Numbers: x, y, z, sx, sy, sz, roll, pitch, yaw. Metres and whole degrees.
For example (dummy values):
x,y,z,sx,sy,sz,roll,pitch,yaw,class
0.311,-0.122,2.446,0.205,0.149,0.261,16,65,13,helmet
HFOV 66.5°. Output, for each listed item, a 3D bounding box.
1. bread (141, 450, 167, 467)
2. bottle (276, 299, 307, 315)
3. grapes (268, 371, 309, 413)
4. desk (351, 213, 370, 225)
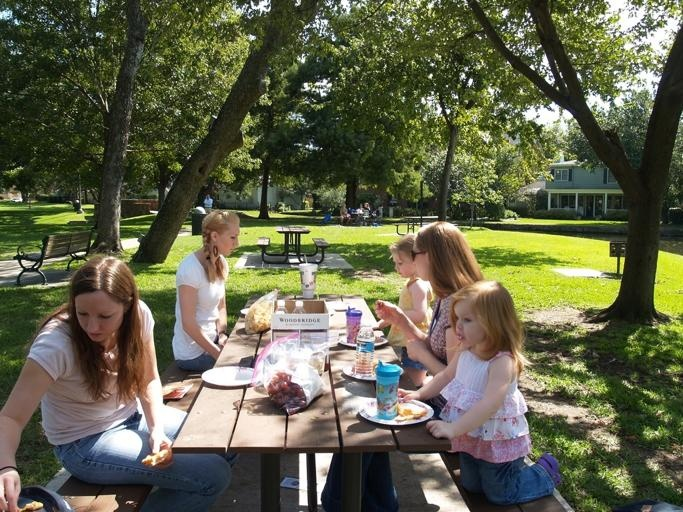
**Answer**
x,y,z,sx,sy,sz,roll,pitch,yaw,class
-1.090,1.196,3.075,0.145,0.093,0.094,0,4,-28,bread
-0.413,0.400,4.248,0.146,0.106,0.152,1,-5,0,bottle
-0.328,0.811,3.088,0.165,0.231,0.092,-34,-19,-13,grapes
1.190,-2.374,33.050,0.903,0.586,0.984,-1,-1,1,desk
